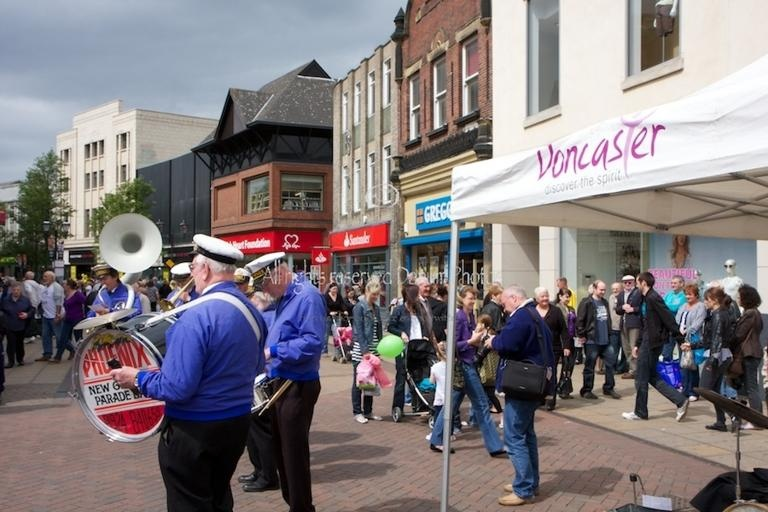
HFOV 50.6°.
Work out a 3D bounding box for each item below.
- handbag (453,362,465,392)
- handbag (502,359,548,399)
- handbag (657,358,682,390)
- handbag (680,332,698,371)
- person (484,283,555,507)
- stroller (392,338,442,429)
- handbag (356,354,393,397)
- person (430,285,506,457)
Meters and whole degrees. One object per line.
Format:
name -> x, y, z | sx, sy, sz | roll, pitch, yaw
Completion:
handbag -> 1.100, 1.733, 11.923 | 0.183, 0.414, 0.069 | 1, -3, -26
handbag -> 1.814, 1.576, 10.407 | 0.446, 0.452, 0.202 | 5, -1, 18
handbag -> 4.872, 2.018, 13.855 | 0.553, 0.541, 0.292 | 1, -10, -12
handbag -> 5.292, 1.717, 14.171 | 0.238, 0.518, 0.648 | -1, -3, 30
person -> 1.804, 1.811, 10.687 | 0.773, 2.823, 0.674 | -1, -3, 23
stroller -> 0.711, 2.054, 13.262 | 0.715, 1.250, 0.964 | 4, -1, -36
handbag -> -0.203, 1.943, 13.402 | 0.507, 0.679, 0.392 | 1, -3, -11
person -> 1.259, 1.694, 12.137 | 0.741, 2.365, 1.010 | 0, 0, -18
